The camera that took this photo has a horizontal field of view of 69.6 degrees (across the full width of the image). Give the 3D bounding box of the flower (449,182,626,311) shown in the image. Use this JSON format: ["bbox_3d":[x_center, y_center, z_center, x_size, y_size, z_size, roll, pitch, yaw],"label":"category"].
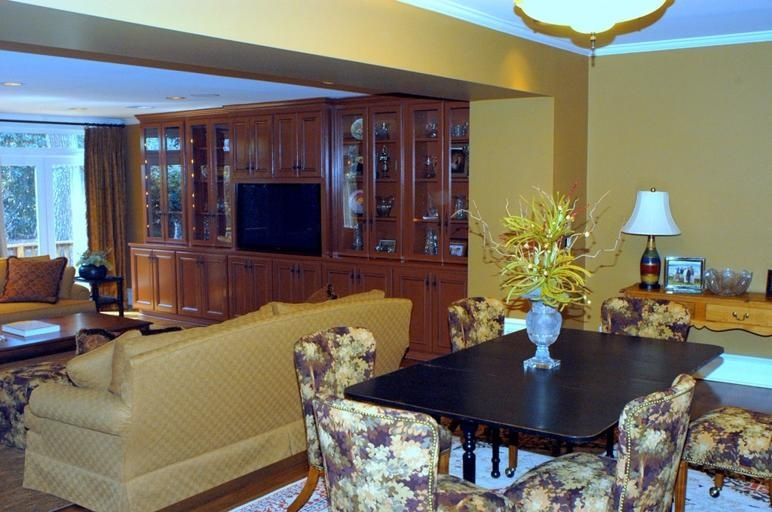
[{"bbox_3d":[1.003,0.018,3.337,0.665,0.626,0.413,-11,25,-23],"label":"flower"}]

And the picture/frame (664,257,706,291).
[{"bbox_3d":[2.913,0.179,5.402,0.327,0.332,0.036,2,-8,24],"label":"picture/frame"}]

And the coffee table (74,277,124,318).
[{"bbox_3d":[-4.128,0.527,8.152,0.584,0.475,0.419,0,-19,-46],"label":"coffee table"}]

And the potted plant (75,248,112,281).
[{"bbox_3d":[-4.222,0.106,8.147,0.487,0.424,0.488,2,2,29],"label":"potted plant"}]

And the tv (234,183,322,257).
[{"bbox_3d":[-1.448,-0.500,7.413,0.139,0.919,1.566,4,4,35],"label":"tv"}]

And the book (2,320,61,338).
[{"bbox_3d":[-3.691,0.760,5.847,0.307,0.059,0.301,-3,5,-43],"label":"book"}]

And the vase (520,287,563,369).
[{"bbox_3d":[0.945,0.413,3.368,0.215,0.466,0.358,0,6,15],"label":"vase"}]
